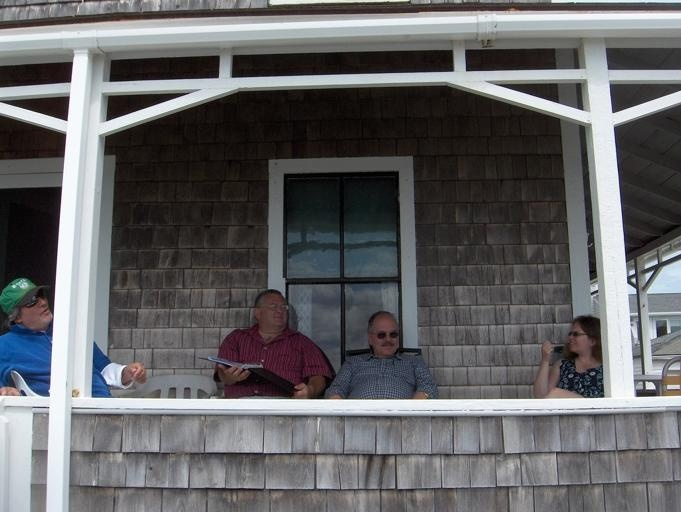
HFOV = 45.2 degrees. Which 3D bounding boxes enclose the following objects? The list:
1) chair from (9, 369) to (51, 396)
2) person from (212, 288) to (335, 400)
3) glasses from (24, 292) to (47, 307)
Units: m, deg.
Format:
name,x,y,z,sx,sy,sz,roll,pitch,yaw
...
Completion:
name,x,y,z,sx,sy,sz,roll,pitch,yaw
chair,-1.876,0.765,4.918,0.213,0.148,0.130,19,-14,-22
person,-0.508,0.659,5.850,0.758,0.944,0.673,4,-14,8
glasses,-1.893,0.269,5.049,0.087,0.056,0.040,-15,-63,44
